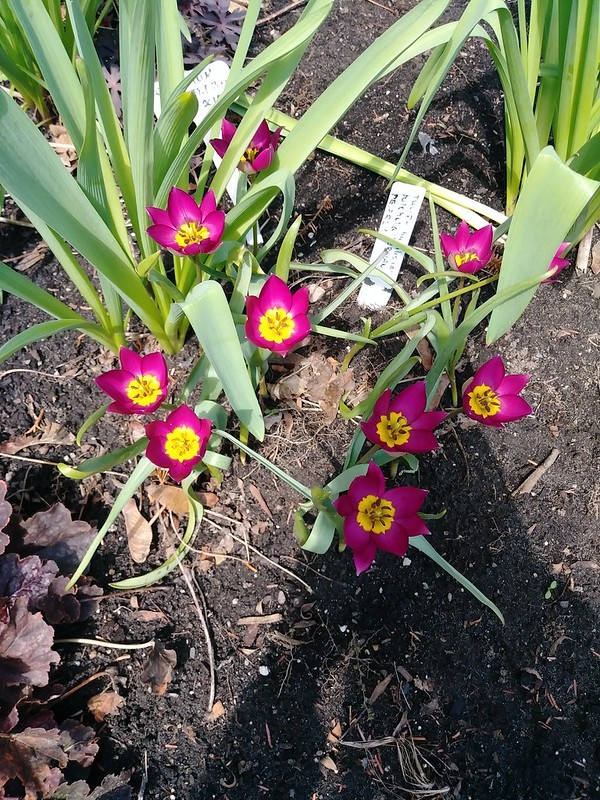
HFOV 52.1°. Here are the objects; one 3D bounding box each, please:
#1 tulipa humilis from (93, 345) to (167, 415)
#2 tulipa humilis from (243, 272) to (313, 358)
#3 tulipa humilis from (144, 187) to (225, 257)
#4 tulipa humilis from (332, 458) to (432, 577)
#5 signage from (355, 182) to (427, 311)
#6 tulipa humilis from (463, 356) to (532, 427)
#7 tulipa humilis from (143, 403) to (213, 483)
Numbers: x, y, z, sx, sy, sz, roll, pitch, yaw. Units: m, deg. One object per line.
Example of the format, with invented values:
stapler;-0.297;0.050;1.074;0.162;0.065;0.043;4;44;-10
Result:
tulipa humilis;-0.287;-0.021;1.075;0.101;0.106;0.111;-5;67;6
tulipa humilis;-0.044;-0.164;1.129;0.116;0.150;0.061;-2;75;-1
tulipa humilis;-0.198;-0.311;1.100;0.126;0.080;0.147;16;69;6
tulipa humilis;0.121;0.178;1.024;0.195;0.079;0.175;23;29;33
signage;0.232;-0.390;1.527;0.082;0.347;0.016;13;59;3
tulipa humilis;0.366;0.009;1.129;0.068;0.150;0.117;17;93;56
tulipa humilis;-0.196;0.066;1.012;0.150;0.058;0.130;1;47;16
